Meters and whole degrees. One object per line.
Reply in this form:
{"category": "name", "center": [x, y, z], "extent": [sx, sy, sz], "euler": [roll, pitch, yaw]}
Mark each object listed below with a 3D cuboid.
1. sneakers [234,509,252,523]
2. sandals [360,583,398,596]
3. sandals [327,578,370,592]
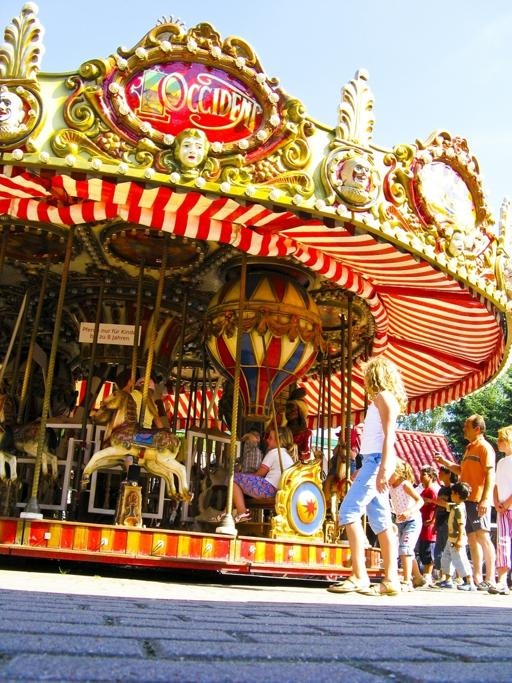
{"category": "sneakers", "center": [-0.097, 1.885, 6.880], "extent": [0.273, 0.102, 0.092], "euler": [0, -7, 3]}
{"category": "sandals", "center": [0.766, 1.551, 4.014], "extent": [0.222, 0.061, 0.102], "euler": [5, -21, -1]}
{"category": "sandals", "center": [0.589, 1.537, 4.005], "extent": [0.219, 0.078, 0.112], "euler": [8, -24, -8]}
